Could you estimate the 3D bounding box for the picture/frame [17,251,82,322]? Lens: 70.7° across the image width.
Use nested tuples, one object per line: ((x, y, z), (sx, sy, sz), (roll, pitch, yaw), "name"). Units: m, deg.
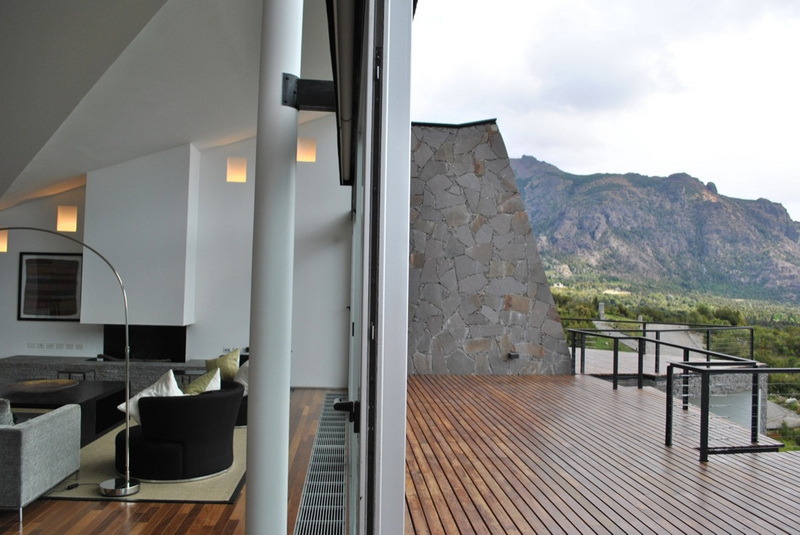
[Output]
((-6.115, 0.350, 9.908), (1.128, 1.277, 0.055), (2, -1, -5), "picture/frame")
